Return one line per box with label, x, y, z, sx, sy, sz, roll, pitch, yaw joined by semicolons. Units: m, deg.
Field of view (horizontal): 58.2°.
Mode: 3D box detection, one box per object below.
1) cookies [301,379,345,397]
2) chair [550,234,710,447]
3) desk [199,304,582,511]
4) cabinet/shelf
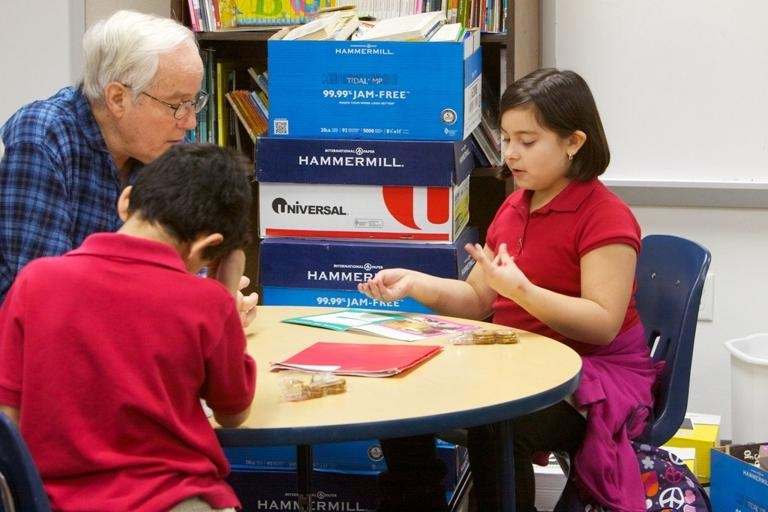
cookies;-0.129;0.286;1.481;0.063;0.023;0.041;-5;4;-16
chair;0.776;0.345;2.141;0.439;0.653;0.542;-1;13;26
desk;0.063;0.206;1.516;0.509;0.346;0.543;-1;13;4
cabinet/shelf;-0.123;-0.379;2.793;0.861;1.137;0.753;7;34;4
